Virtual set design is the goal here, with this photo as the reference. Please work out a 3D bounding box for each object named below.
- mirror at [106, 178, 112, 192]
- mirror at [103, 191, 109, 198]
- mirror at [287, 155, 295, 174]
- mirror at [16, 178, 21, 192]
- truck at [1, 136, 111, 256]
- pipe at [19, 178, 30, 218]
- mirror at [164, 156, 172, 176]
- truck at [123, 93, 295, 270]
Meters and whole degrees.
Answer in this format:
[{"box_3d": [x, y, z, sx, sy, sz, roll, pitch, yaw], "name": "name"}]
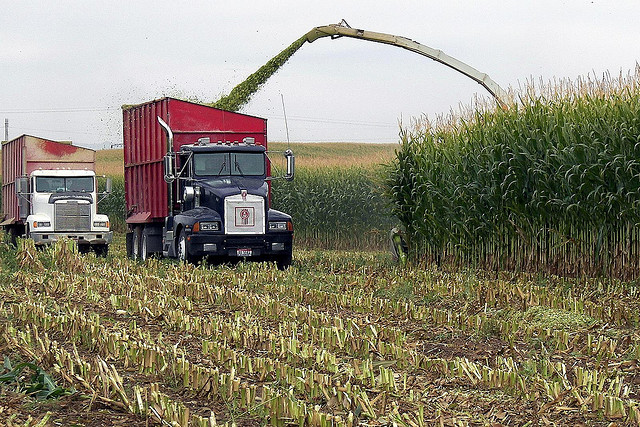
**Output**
[{"box_3d": [-5.453, -0.705, 22.472, 0.117, 0.360, 0.369, -1, 9, -14], "name": "mirror"}, {"box_3d": [-6.144, -0.540, 24.966, 0.109, 0.181, 0.476, 3, 9, -23], "name": "mirror"}, {"box_3d": [-0.587, -0.995, 17.678, 0.126, 0.380, 0.262, 1, 8, 4], "name": "mirror"}, {"box_3d": [-7.920, -0.750, 22.845, 0.090, 0.375, 0.462, -3, 9, -24], "name": "mirror"}, {"box_3d": [-7.363, -0.601, 24.994, 2.374, 3.052, 5.849, 0, -2, -30], "name": "truck"}, {"box_3d": [-7.824, -0.396, 23.045, 0.248, 1.075, 0.675, -2, 9, -20], "name": "pipe"}, {"box_3d": [-3.016, -0.967, 17.432, 0.119, 0.362, 0.374, 0, 9, -4], "name": "mirror"}, {"box_3d": [-2.433, -0.719, 19.832, 2.753, 3.086, 5.922, 0, 0, -24], "name": "truck"}]
